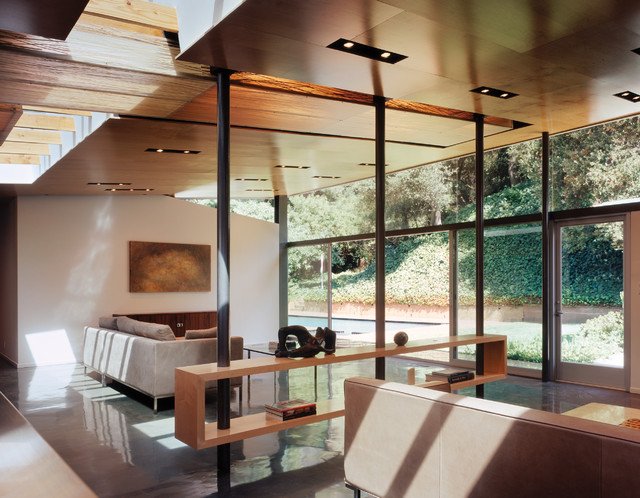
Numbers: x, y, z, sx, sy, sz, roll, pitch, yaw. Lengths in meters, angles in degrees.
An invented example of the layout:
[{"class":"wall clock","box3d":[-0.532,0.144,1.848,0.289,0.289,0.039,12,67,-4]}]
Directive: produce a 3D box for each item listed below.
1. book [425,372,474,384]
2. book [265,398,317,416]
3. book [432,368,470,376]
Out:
[{"class":"book","box3d":[1.605,1.517,5.976,0.256,0.049,0.260,1,-3,-36]},{"class":"book","box3d":[-0.255,1.502,4.731,0.248,0.051,0.250,-2,-3,43]},{"class":"book","box3d":[1.612,1.514,6.137,0.323,0.052,0.307,2,-4,-37]}]
